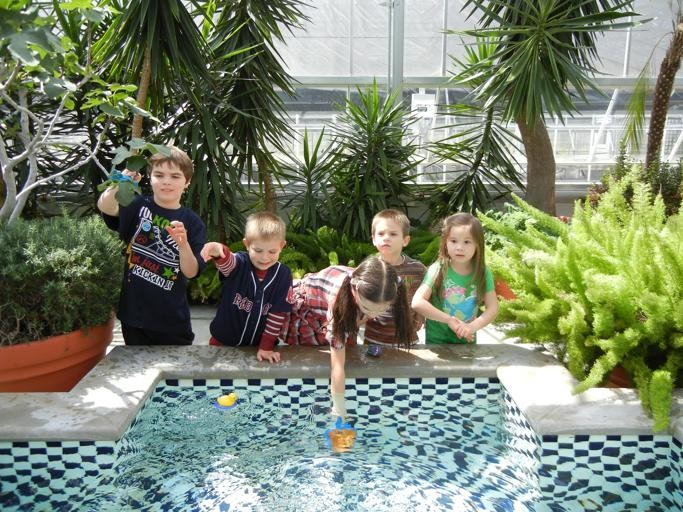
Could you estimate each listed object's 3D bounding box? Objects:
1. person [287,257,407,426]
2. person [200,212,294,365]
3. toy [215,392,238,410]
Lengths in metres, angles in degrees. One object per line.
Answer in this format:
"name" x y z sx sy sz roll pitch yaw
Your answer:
"person" -0.045 0.414 2.947 0.825 0.914 0.468 8 12 28
"person" -0.550 0.171 2.951 0.513 0.846 0.336 2 11 -1
"toy" -0.620 0.794 2.776 0.093 0.039 0.087 5 22 20
